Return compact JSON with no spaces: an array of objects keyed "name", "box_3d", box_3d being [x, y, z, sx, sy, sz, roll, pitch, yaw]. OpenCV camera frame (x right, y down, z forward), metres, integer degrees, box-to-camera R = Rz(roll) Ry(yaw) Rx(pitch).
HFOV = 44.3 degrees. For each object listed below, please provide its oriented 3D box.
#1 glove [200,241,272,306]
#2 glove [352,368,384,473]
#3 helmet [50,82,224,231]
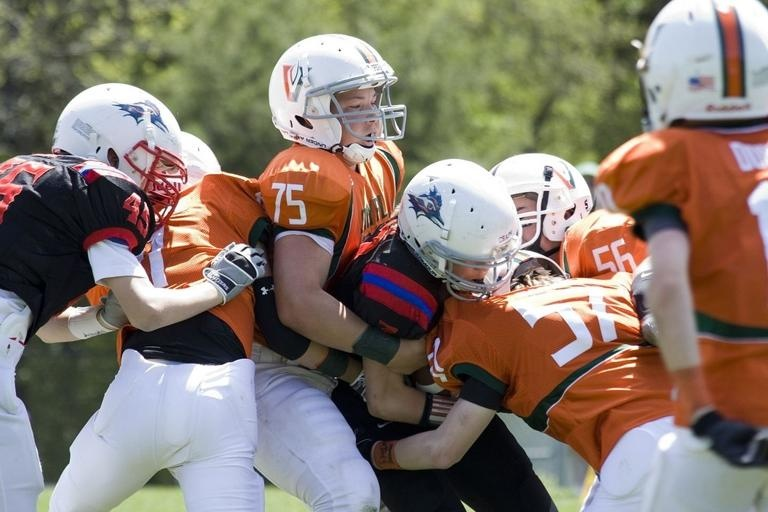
[{"name":"glove","box_3d":[-0.738,0.063,4.668,0.317,0.135,0.226,-35,77,-29]},{"name":"glove","box_3d":[-0.087,0.825,4.936,0.079,0.392,0.465,-3,36,-19]},{"name":"helmet","box_3d":[-1.358,-0.539,4.829,0.662,0.542,0.463,9,34,-2]}]
